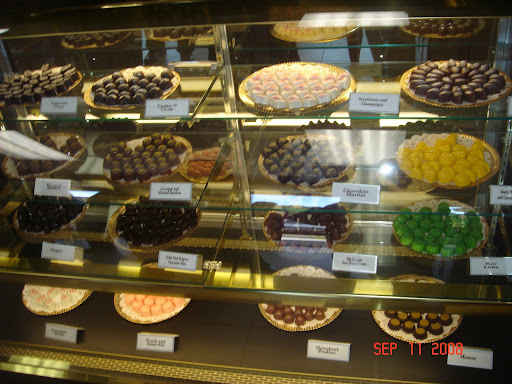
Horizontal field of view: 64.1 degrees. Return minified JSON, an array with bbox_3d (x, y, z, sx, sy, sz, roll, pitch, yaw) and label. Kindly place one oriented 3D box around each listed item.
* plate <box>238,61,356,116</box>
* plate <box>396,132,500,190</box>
[{"bbox_3d":[0.201,-0.522,2.036,0.576,0.102,0.406,1,40,13],"label":"plate"},{"bbox_3d":[0.984,-0.166,2.117,0.519,0.188,0.284,-4,40,7],"label":"plate"}]
